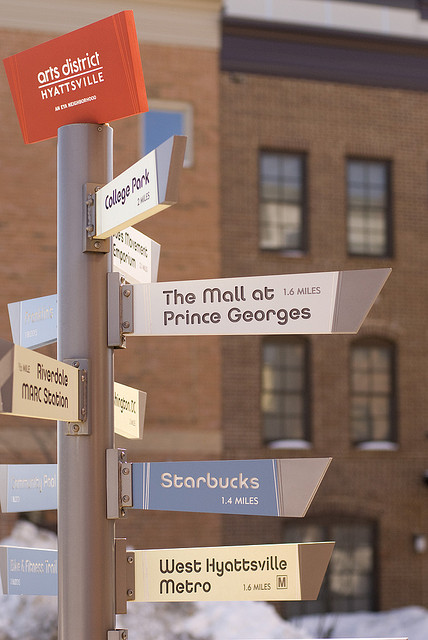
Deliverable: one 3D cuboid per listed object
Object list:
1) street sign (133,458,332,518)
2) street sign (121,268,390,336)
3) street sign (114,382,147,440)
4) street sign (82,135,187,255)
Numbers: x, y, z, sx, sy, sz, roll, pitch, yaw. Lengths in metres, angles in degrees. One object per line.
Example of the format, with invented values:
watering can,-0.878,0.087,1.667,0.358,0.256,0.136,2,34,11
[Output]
street sign,0.093,0.843,7.030,1.047,0.336,0.020,0,27,5
street sign,0.223,-0.057,7.058,1.375,0.354,0.246,-6,-7,9
street sign,-0.487,0.487,7.676,0.058,0.291,0.378,3,1,-30
street sign,-0.464,-0.636,7.009,0.192,0.357,0.630,10,30,42
